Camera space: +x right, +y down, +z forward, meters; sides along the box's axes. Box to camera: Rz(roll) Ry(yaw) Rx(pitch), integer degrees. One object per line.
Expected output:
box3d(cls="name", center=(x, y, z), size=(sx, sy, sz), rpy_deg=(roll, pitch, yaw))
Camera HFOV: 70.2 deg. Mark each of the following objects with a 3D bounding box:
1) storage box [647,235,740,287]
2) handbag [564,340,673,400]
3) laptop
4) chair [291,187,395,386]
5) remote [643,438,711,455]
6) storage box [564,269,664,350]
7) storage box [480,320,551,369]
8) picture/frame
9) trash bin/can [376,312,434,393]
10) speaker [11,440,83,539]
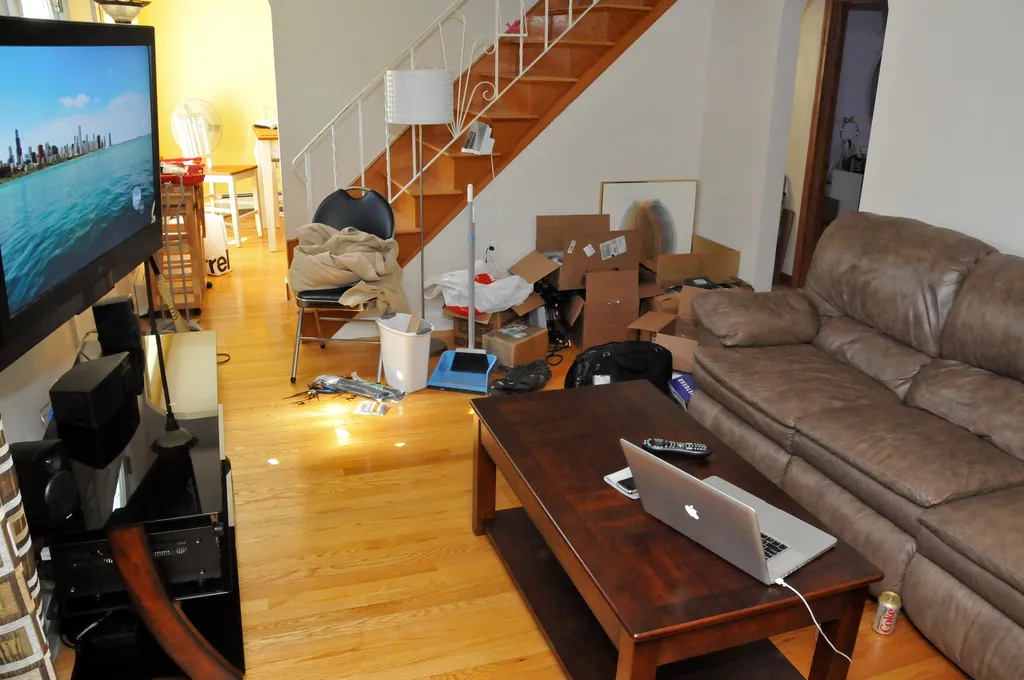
box3d(cls="storage box", center=(1.379, -0.577, 5.434), size=(0.472, 0.168, 0.442), rpy_deg=(-10, 22, -19))
box3d(cls="handbag", center=(0.667, 0.156, 4.211), size=(0.582, 0.312, 0.520), rpy_deg=(0, 1, -23))
box3d(cls="laptop", center=(0.773, 0.587, 2.545), size=(0.514, 0.355, 0.575), rpy_deg=(-19, 34, -33))
box3d(cls="chair", center=(-1.137, -0.423, 4.856), size=(0.735, 1.151, 0.811), rpy_deg=(-4, 18, -12))
box3d(cls="remote", center=(0.667, 0.430, 2.944), size=(0.173, 0.029, 0.103), rpy_deg=(2, 11, 9))
box3d(cls="storage box", center=(0.667, -0.247, 5.084), size=(0.580, 0.605, 0.483), rpy_deg=(-4, 25, -9))
box3d(cls="storage box", center=(0.036, -0.063, 4.811), size=(0.384, 0.245, 0.276), rpy_deg=(-22, 34, -36))
box3d(cls="picture/frame", center=(1.009, -0.924, 5.524), size=(0.721, 0.564, 0.014), rpy_deg=(-4, 13, -15))
box3d(cls="trash bin/can", center=(-0.669, 0.083, 4.528), size=(0.254, 0.397, 0.399), rpy_deg=(-11, 20, -33))
box3d(cls="speaker", center=(-1.430, 0.453, 2.255), size=(0.144, 0.258, 0.188), rpy_deg=(-12, 21, -32))
